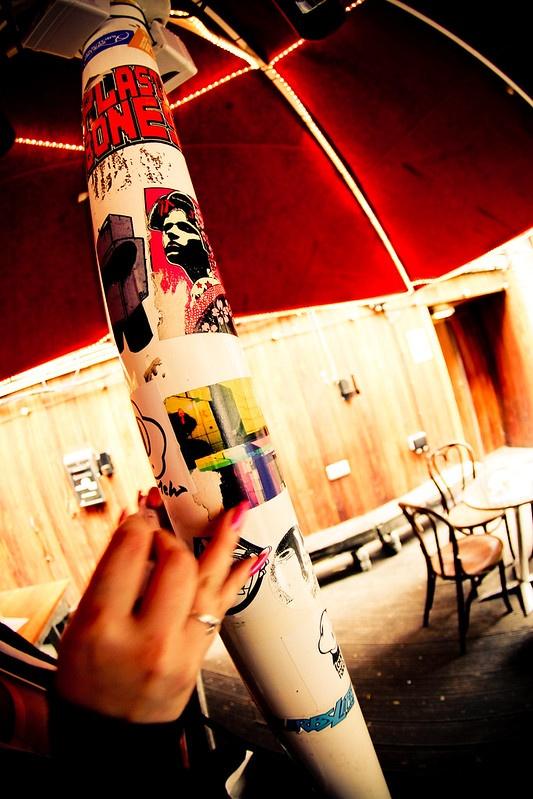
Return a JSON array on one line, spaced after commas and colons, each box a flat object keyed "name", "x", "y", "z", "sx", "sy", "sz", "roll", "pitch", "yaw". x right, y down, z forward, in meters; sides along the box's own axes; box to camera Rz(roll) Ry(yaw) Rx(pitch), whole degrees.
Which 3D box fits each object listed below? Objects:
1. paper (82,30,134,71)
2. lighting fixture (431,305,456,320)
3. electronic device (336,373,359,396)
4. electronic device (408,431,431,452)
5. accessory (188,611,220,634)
[{"name": "paper", "x": -0.292, "y": -0.639, "z": 1.124, "sx": 0.072, "sy": 0.057, "sz": 0.075, "roll": -14, "pitch": -9, "yaw": 6}, {"name": "lighting fixture", "x": 1.858, "y": -0.926, "z": 6.405, "sx": 0.194, "sy": 0.127, "sz": 0.316, "roll": 5, "pitch": 3, "yaw": 18}, {"name": "electronic device", "x": 0.732, "y": -0.104, "z": 5.410, "sx": 0.164, "sy": 0.177, "sz": 0.311, "roll": -5, "pitch": -27, "yaw": 22}, {"name": "electronic device", "x": 1.415, "y": 0.387, "z": 5.635, "sx": 0.188, "sy": 0.181, "sz": 0.043, "roll": -21, "pitch": 11, "yaw": -31}, {"name": "accessory", "x": -0.090, "y": 0.313, "z": 0.876, "sx": 0.034, "sy": 0.012, "sz": 0.027, "roll": 19, "pitch": -3, "yaw": 16}]
